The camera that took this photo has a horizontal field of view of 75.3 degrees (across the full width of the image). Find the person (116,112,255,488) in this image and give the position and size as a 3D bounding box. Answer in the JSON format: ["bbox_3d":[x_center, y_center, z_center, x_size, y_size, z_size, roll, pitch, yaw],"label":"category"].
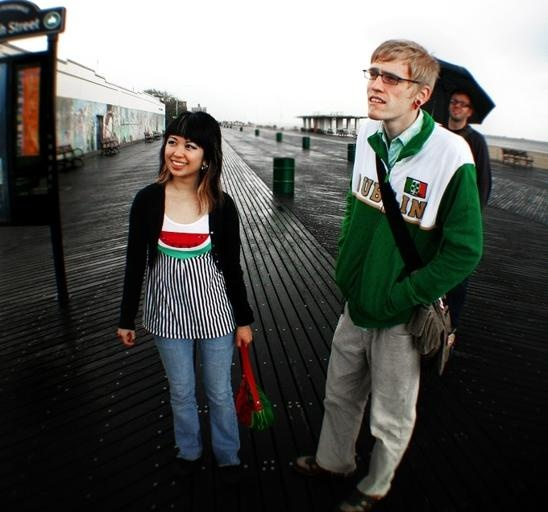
[{"bbox_3d":[-0.418,0.252,1.684,0.605,1.798,0.265,-2,9,-21],"label":"person"}]

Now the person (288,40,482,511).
[{"bbox_3d":[0.451,0.222,1.449,0.387,2.017,0.681,-3,10,-27],"label":"person"}]
